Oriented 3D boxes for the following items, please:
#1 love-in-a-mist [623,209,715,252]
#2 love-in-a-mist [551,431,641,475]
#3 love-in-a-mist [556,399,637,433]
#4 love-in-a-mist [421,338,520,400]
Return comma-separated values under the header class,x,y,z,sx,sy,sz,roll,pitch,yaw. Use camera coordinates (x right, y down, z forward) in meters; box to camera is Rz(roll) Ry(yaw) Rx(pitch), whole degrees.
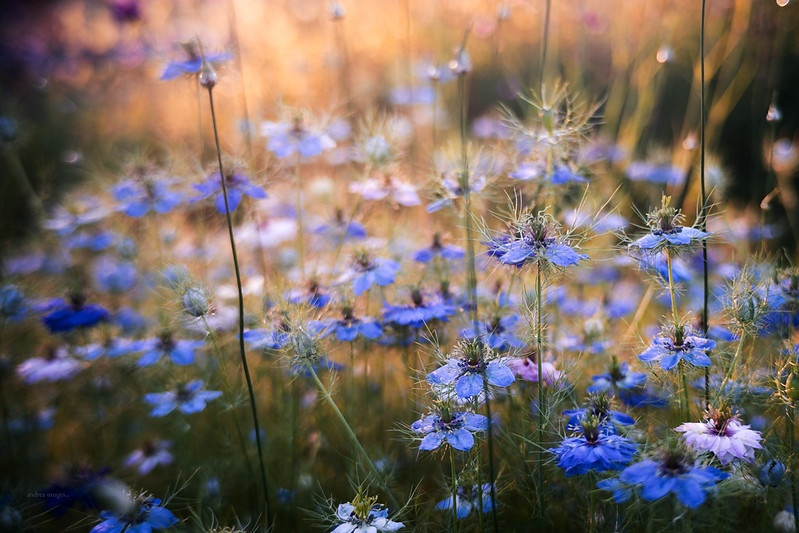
class,x,y,z,sx,sy,sz,roll,pitch,yaw
love-in-a-mist,1.428,-0.197,4.271,0.381,0.188,0.475,-10,6,24
love-in-a-mist,1.022,0.987,4.156,0.349,0.123,0.392,-3,3,-3
love-in-a-mist,1.126,0.758,4.240,0.271,0.164,0.297,-12,-5,-3
love-in-a-mist,0.382,0.525,4.163,0.378,0.253,0.429,-9,12,11
